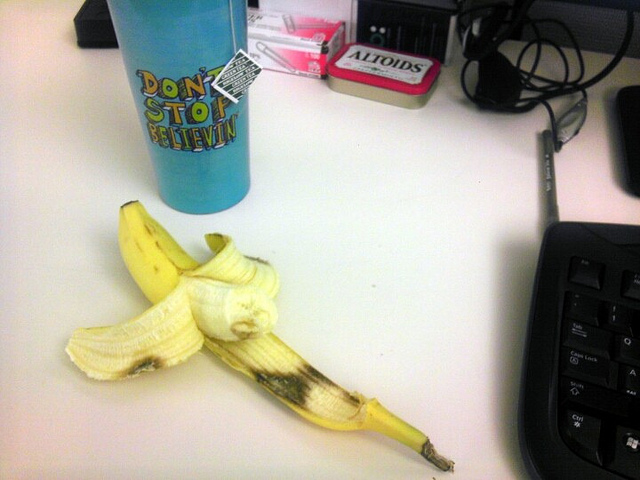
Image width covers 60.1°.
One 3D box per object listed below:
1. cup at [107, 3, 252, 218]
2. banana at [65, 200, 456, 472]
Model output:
[{"bbox_3d":[-0.114,-0.102,0.463,0.097,0.188,0.098,3,49,-3],"label":"cup"},{"bbox_3d":[-0.037,0.076,0.419,0.307,0.065,0.155,23,57,9],"label":"banana"}]
